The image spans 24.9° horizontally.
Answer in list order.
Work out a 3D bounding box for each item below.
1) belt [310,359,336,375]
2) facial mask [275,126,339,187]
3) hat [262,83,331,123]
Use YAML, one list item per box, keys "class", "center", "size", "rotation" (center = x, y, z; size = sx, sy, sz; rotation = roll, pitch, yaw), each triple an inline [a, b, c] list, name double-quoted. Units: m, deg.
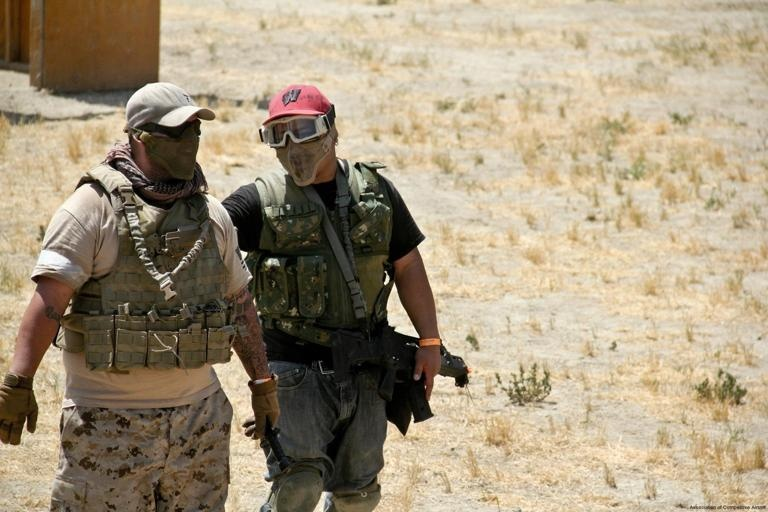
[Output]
- class: "belt"
  center: [-0.651, 1.210, 18.171]
  size: [0.217, 0.137, 0.096]
  rotation: [2, 7, -9]
- class: "facial mask"
  center: [-0.650, -1.166, 18.294]
  size: [0.336, 0.823, 1.002]
  rotation: [-4, -22, 11]
- class: "hat"
  center: [-0.908, -1.614, 18.207]
  size: [0.397, 0.273, 0.550]
  rotation: [-4, -7, 13]
